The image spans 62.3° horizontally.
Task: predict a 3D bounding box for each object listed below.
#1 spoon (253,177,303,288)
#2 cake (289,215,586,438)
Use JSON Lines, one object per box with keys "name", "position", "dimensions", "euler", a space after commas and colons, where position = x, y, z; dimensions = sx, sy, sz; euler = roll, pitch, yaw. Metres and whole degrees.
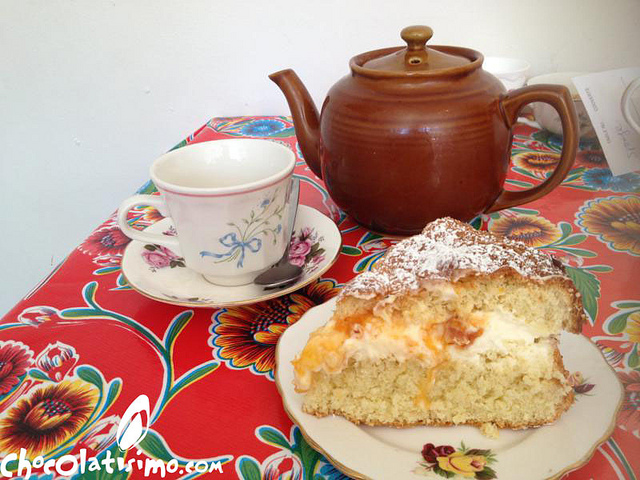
{"name": "spoon", "position": [-0.057, 0.000, 0.770], "dimensions": [0.070, 0.160, 0.070], "euler": [14, 29, 15]}
{"name": "cake", "position": [0.117, 0.099, 0.713], "dimensions": [0.299, 0.231, 0.283], "euler": [-1, 22, -4]}
